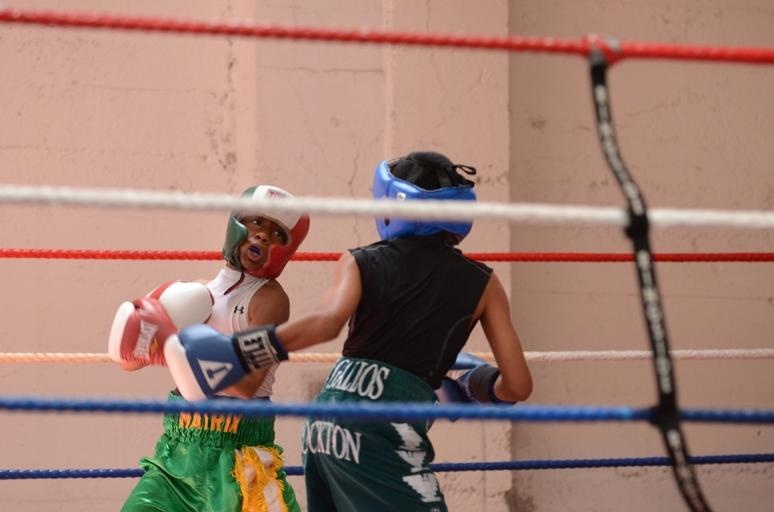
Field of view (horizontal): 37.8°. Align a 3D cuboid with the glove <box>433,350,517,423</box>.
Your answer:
[{"bbox_3d":[0.337,0.506,4.369,0.267,0.158,0.107,13,-21,13],"label":"glove"}]

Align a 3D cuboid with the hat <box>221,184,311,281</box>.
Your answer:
[{"bbox_3d":[-0.458,-0.029,4.497,0.294,0.334,0.370,32,-16,0],"label":"hat"}]

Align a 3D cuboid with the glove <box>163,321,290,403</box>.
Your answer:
[{"bbox_3d":[-0.564,0.361,3.903,0.347,0.232,0.153,-12,13,-1],"label":"glove"}]

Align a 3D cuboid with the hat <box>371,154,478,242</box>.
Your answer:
[{"bbox_3d":[0.158,-0.198,4.414,0.370,0.347,0.301,10,0,16],"label":"hat"}]

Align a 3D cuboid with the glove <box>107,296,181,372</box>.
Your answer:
[{"bbox_3d":[-0.906,0.282,4.186,0.272,0.273,0.209,0,-6,-10],"label":"glove"}]
